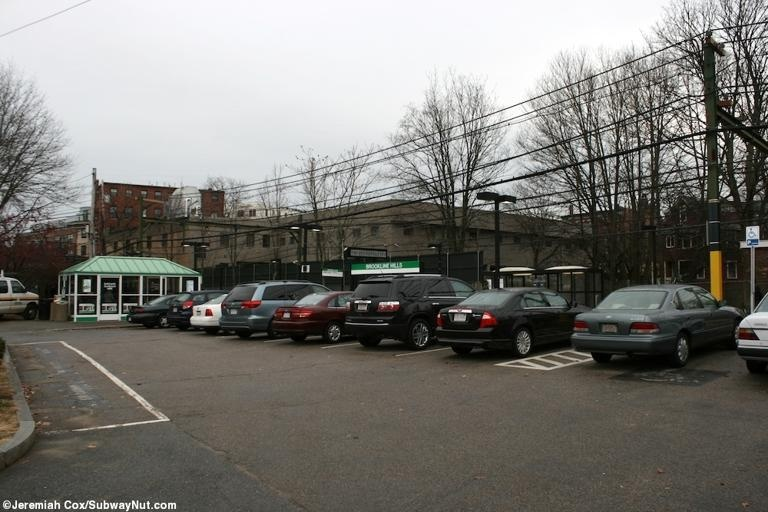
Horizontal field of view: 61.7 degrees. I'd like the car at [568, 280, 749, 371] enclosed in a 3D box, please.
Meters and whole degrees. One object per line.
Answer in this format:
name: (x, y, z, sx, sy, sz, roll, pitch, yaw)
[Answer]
car: (7.184, 1.587, 16.231, 4.684, 1.347, 1.917, -3, -1, -39)
